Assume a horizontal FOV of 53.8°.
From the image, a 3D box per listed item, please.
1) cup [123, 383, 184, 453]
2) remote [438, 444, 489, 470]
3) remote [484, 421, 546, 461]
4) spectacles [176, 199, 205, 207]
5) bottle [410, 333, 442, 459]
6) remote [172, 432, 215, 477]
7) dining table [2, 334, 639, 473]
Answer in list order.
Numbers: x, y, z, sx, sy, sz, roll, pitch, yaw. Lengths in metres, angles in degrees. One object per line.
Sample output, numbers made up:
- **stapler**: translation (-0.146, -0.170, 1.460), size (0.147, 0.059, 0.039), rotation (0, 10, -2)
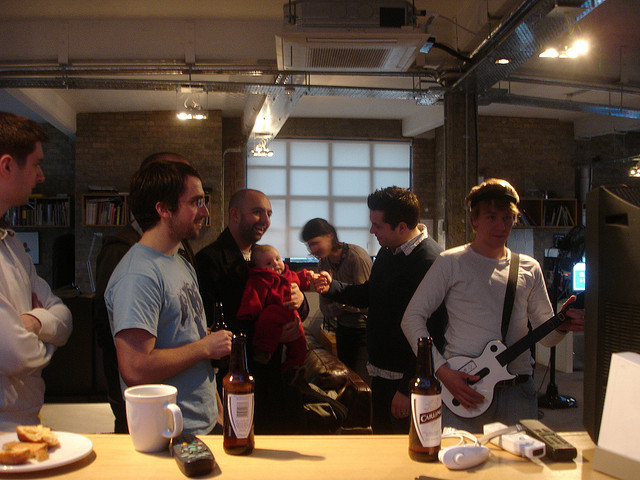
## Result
- **cup**: translation (-0.636, 0.720, 2.490), size (0.196, 0.237, 0.295), rotation (0, 0, -41)
- **remote**: translation (0.542, 0.824, 2.411), size (0.122, 0.049, 0.100), rotation (-4, 1, -14)
- **remote**: translation (0.772, 0.782, 2.495), size (0.095, 0.062, 0.203), rotation (-2, 7, -27)
- **spectacles**: translation (-0.570, -0.162, 2.828), size (0.047, 0.034, 0.147), rotation (9, 12, 41)
- **bottle**: translation (0.413, 0.618, 2.432), size (0.121, 0.463, 0.128), rotation (1, 8, 0)
- **remote**: translation (-0.492, 0.831, 2.422), size (0.119, 0.086, 0.208), rotation (-6, 11, -35)
- **dining table**: translation (0.005, 0.633, 2.398), size (2.310, 0.492, 0.376), rotation (1, 9, -2)
